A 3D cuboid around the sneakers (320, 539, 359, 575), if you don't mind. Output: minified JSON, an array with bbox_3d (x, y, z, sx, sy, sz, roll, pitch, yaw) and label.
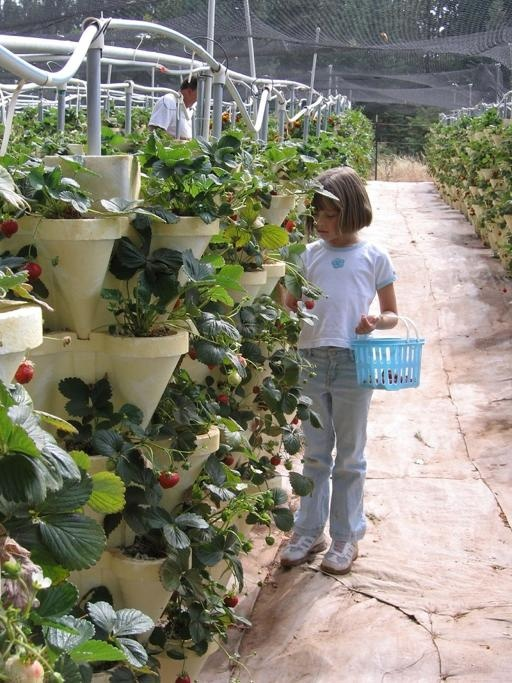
[{"bbox_3d":[0.340,0.889,2.454,0.076,0.081,0.198,3,-3,25],"label":"sneakers"}]

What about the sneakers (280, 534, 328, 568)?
[{"bbox_3d":[0.187,0.885,2.578,0.085,0.097,0.246,0,2,34],"label":"sneakers"}]

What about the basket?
[{"bbox_3d":[0.481,0.055,2.375,0.243,0.273,0.330,6,10,34],"label":"basket"}]
